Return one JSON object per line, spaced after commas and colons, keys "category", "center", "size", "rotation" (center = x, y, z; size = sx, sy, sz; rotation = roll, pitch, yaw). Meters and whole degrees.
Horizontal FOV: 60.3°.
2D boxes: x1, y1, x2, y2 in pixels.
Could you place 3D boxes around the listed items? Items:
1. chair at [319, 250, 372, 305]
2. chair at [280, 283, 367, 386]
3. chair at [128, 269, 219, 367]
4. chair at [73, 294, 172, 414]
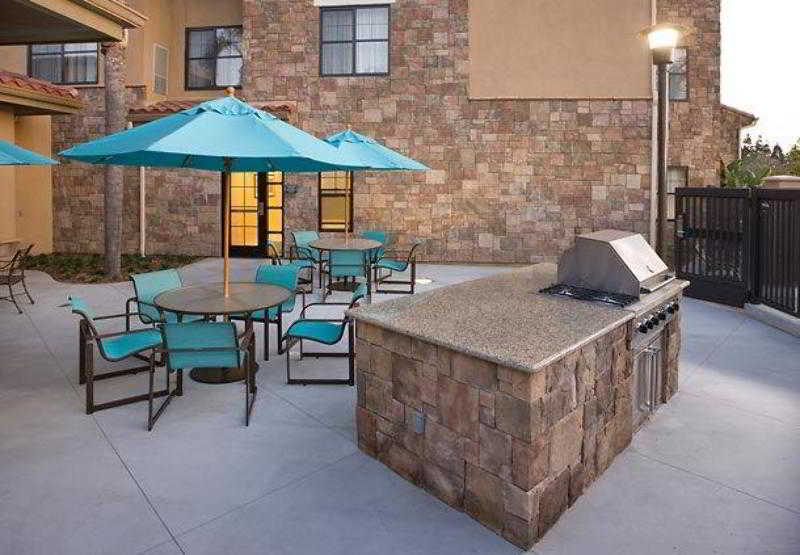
{"category": "chair", "center": [-0.979, 0.061, 12.440], "size": [1.072, 1.320, 0.879], "rotation": [0, 15, -3]}
{"category": "chair", "center": [-0.971, 0.764, 8.988], "size": [1.047, 1.173, 1.375], "rotation": [1, 4, -2]}
{"category": "chair", "center": [-3.355, 0.502, 9.457], "size": [0.817, 1.212, 0.995], "rotation": [6, 9, 33]}
{"category": "chair", "center": [-3.378, 1.020, 8.293], "size": [1.337, 1.580, 1.247], "rotation": [-2, 11, -28]}
